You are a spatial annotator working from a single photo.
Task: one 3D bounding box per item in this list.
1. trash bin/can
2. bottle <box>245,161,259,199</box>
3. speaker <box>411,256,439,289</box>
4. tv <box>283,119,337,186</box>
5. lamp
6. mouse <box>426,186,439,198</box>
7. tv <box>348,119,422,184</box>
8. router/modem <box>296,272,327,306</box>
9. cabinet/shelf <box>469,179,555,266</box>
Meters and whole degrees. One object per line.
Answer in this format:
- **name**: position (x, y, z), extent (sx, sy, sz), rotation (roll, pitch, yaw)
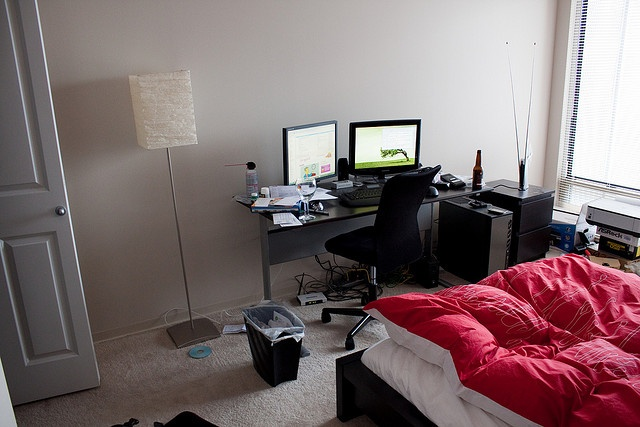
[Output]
- **trash bin/can**: position (-0.330, 0.937, 3.198), extent (0.344, 0.447, 0.464), rotation (-11, 20, -25)
- **bottle**: position (-0.555, -0.264, 3.561), extent (0.089, 0.284, 0.192), rotation (-6, 19, -11)
- **speaker**: position (0.979, 0.550, 4.073), extent (0.310, 0.321, 0.111), rotation (-16, 1, 43)
- **tv**: position (-0.099, -0.519, 3.688), extent (0.547, 0.441, 0.055), rotation (-17, 28, -35)
- **lamp**: position (-1.101, -0.021, 3.402), extent (0.451, 2.068, 0.590), rotation (-8, 19, -15)
- **mouse**: position (0.951, -0.175, 3.734), extent (0.112, 0.109, 0.040), rotation (-4, -6, 44)
- **tv**: position (0.560, -0.558, 3.904), extent (0.626, 0.428, 0.194), rotation (-7, 16, -18)
- **router/modem**: position (-0.079, 0.668, 3.952), extent (0.282, 0.319, 0.173), rotation (-2, 22, -15)
- **cabinet/shelf**: position (1.912, 0.115, 4.561), extent (0.649, 0.714, 0.757), rotation (-9, 16, -25)
